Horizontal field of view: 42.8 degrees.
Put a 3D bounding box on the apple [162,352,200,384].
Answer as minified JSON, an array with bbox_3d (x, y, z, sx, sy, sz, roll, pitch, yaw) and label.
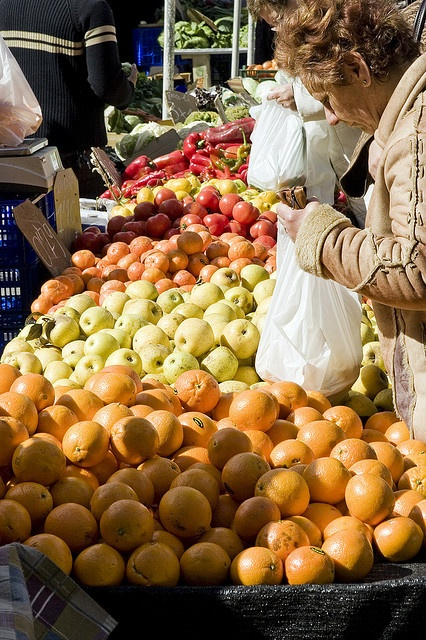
[{"bbox_3d":[-0.130,0.184,2.292,0.140,0.150,0.135,-6,43,2],"label":"apple"}]

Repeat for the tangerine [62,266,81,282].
[{"bbox_3d":[-0.838,-0.282,3.214,0.078,0.087,0.073,9,-32,-18],"label":"tangerine"}]

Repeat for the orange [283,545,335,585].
[{"bbox_3d":[0.198,0.511,1.123,0.083,0.073,0.079,-10,-4,9],"label":"orange"}]

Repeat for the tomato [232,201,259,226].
[{"bbox_3d":[0.226,-0.756,3.902,0.178,0.163,0.170,3,23,-8],"label":"tomato"}]

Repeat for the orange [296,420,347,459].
[{"bbox_3d":[0.327,0.353,1.702,0.115,0.129,0.111,-22,26,-15],"label":"orange"}]

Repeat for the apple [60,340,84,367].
[{"bbox_3d":[-0.629,0.150,2.425,0.064,0.062,0.073,31,40,-10],"label":"apple"}]

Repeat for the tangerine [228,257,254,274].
[{"bbox_3d":[0.152,-0.321,3.146,0.109,0.098,0.102,2,23,-32],"label":"tangerine"}]

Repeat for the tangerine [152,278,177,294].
[{"bbox_3d":[-0.266,-0.194,3.001,0.107,0.084,0.087,-16,50,-43],"label":"tangerine"}]

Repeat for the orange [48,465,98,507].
[{"bbox_3d":[-0.362,0.431,1.412,0.079,0.087,0.076,8,-25,-12],"label":"orange"}]

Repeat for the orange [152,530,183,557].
[{"bbox_3d":[-0.100,0.503,1.269,0.057,0.062,0.054,-9,17,-37],"label":"orange"}]

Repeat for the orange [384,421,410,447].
[{"bbox_3d":[0.624,0.383,1.836,0.071,0.065,0.078,3,56,11],"label":"orange"}]

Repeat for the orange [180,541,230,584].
[{"bbox_3d":[-0.013,0.523,1.204,0.097,0.089,0.091,0,8,-1],"label":"orange"}]

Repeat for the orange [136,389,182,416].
[{"bbox_3d":[-0.177,0.269,1.865,0.139,0.100,0.113,-6,1,-11],"label":"orange"}]

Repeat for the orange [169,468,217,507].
[{"bbox_3d":[-0.050,0.403,1.417,0.108,0.114,0.103,-10,15,-16],"label":"orange"}]

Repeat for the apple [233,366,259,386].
[{"bbox_3d":[0.149,0.250,2.455,0.087,0.092,0.083,-1,-1,-4],"label":"apple"}]

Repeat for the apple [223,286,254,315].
[{"bbox_3d":[0.123,-0.129,2.886,0.150,0.138,0.152,20,13,-7],"label":"apple"}]

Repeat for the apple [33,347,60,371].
[{"bbox_3d":[-0.740,0.166,2.466,0.104,0.097,0.117,17,25,-27],"label":"apple"}]

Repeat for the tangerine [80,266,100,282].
[{"bbox_3d":[-0.744,-0.281,3.287,0.117,0.089,0.093,-8,9,-17],"label":"tangerine"}]

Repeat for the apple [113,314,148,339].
[{"bbox_3d":[-0.386,0.017,2.548,0.157,0.117,0.124,-2,8,-31],"label":"apple"}]

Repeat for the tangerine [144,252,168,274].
[{"bbox_3d":[-0.310,-0.335,3.195,0.134,0.126,0.132,-13,3,6],"label":"tangerine"}]

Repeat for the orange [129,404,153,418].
[{"bbox_3d":[-0.229,0.287,1.732,0.041,0.021,0.041,1,0,33],"label":"orange"}]

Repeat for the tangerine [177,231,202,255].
[{"bbox_3d":[-0.144,-0.465,3.302,0.112,0.113,0.116,-32,-21,13],"label":"tangerine"}]

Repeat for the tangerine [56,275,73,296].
[{"bbox_3d":[-0.810,-0.200,3.016,0.104,0.117,0.106,10,16,34],"label":"tangerine"}]

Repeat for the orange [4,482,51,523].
[{"bbox_3d":[-0.422,0.425,1.307,0.090,0.087,0.105,-4,-32,17],"label":"orange"}]

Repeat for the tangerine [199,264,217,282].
[{"bbox_3d":[-0.029,-0.274,3.126,0.102,0.114,0.099,9,9,2],"label":"tangerine"}]

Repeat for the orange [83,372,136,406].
[{"bbox_3d":[-0.350,0.229,1.846,0.116,0.115,0.122,30,53,-2],"label":"orange"}]

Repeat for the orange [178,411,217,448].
[{"bbox_3d":[-0.058,0.361,1.780,0.112,0.119,0.100,4,-23,-15],"label":"orange"}]

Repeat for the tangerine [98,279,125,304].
[{"bbox_3d":[-0.566,-0.159,3.001,0.137,0.150,0.130,0,-1,-3],"label":"tangerine"}]

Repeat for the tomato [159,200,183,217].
[{"bbox_3d":[-0.303,-0.797,3.881,0.096,0.106,0.124,40,4,40],"label":"tomato"}]

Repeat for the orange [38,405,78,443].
[{"bbox_3d":[-0.474,0.303,1.647,0.126,0.097,0.099,-2,-20,-41],"label":"orange"}]

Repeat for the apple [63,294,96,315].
[{"bbox_3d":[-0.681,-0.083,2.798,0.145,0.114,0.118,-11,-2,-33],"label":"apple"}]

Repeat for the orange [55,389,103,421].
[{"bbox_3d":[-0.432,0.261,1.735,0.113,0.099,0.103,2,-1,0],"label":"orange"}]

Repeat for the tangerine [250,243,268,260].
[{"bbox_3d":[0.297,-0.428,3.407,0.104,0.097,0.098,5,-4,38],"label":"tangerine"}]

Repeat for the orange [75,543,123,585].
[{"bbox_3d":[-0.235,0.513,1.176,0.084,0.082,0.090,-17,-13,29],"label":"orange"}]

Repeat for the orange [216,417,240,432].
[{"bbox_3d":[0.049,0.363,1.854,0.058,0.054,0.059,2,17,30],"label":"orange"}]

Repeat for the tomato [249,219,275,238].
[{"bbox_3d":[0.328,-0.633,3.791,0.152,0.138,0.139,8,18,-18],"label":"tomato"}]

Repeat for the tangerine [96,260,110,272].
[{"bbox_3d":[-0.694,-0.350,3.408,0.084,0.077,0.095,5,37,-7],"label":"tangerine"}]

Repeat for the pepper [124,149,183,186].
[{"bbox_3d":[-0.574,-1.537,5.363,0.559,0.215,0.284,-22,20,3],"label":"pepper"}]

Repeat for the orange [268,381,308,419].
[{"bbox_3d":[0.290,0.278,2.019,0.131,0.143,0.124,0,31,19],"label":"orange"}]

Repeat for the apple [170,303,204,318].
[{"bbox_3d":[-0.117,-0.069,2.667,0.112,0.088,0.090,-4,7,-30],"label":"apple"}]

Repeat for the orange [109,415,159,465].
[{"bbox_3d":[-0.222,0.347,1.537,0.138,0.138,0.093,-5,23,-9],"label":"orange"}]

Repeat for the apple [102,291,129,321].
[{"bbox_3d":[-0.480,-0.070,2.821,0.140,0.149,0.131,3,-21,-3],"label":"apple"}]

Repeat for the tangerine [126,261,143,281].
[{"bbox_3d":[-0.446,-0.282,3.203,0.104,0.113,0.097,7,-29,-1],"label":"tangerine"}]

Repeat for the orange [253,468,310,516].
[{"bbox_3d":[0.180,0.421,1.401,0.118,0.115,0.126,-1,0,11],"label":"orange"}]

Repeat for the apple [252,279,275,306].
[{"bbox_3d":[0.256,-0.137,2.917,0.132,0.151,0.126,4,-18,-6],"label":"apple"}]

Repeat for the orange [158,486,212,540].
[{"bbox_3d":[-0.067,0.458,1.280,0.086,0.075,0.095,27,5,-35],"label":"orange"}]

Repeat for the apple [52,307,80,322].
[{"bbox_3d":[-0.717,-0.038,2.657,0.083,0.078,0.084,8,28,26],"label":"apple"}]

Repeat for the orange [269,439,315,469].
[{"bbox_3d":[0.226,0.392,1.581,0.100,0.091,0.088,-8,-29,-11],"label":"orange"}]

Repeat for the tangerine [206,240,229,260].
[{"bbox_3d":[0.027,-0.433,3.438,0.118,0.116,0.117,-38,33,-16],"label":"tangerine"}]

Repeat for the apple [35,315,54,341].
[{"bbox_3d":[-0.782,0.037,2.544,0.110,0.122,0.104,5,-7,-5],"label":"apple"}]
